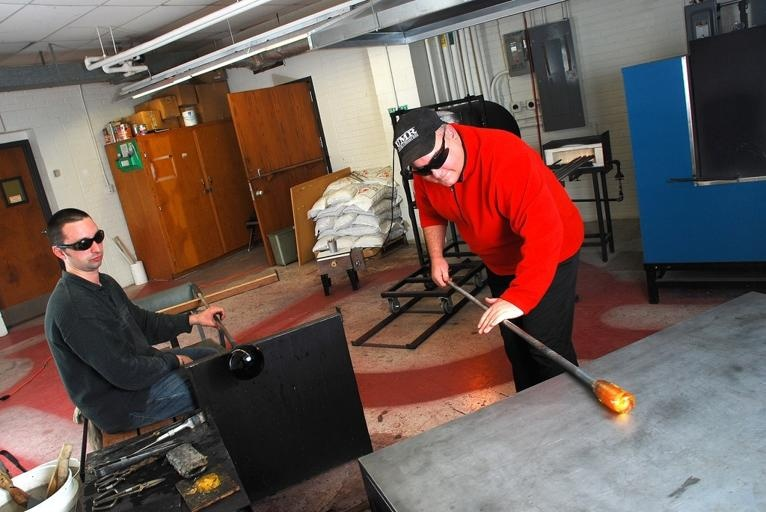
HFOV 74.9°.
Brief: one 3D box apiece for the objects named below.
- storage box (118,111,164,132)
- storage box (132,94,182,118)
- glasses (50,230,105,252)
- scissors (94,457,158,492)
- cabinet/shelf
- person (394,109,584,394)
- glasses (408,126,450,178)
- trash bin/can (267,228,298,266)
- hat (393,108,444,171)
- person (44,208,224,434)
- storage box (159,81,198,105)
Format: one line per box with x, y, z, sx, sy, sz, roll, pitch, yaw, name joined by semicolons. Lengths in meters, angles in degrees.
-4.060;-2.264;8.482;0.512;0.272;0.472;-9;7;7;storage box
-3.919;-2.507;8.714;0.885;0.369;0.431;-6;10;24;storage box
-1.831;-0.072;3.003;0.175;0.046;0.159;-3;19;25;glasses
-1.163;0.975;2.288;0.085;0.040;0.263;19;25;39;scissors
-3.676;-1.173;9.495;1.026;2.233;2.611;1;19;18;cabinet/shelf
0.567;0.041;2.634;0.868;1.662;0.914;-4;18;25;person
0.230;-0.501;2.480;0.190;0.211;0.072;-23;-32;38;glasses
-1.592;-0.126;7.979;0.397;0.500;0.573;-8;3;27;trash bin/can
0.187;-0.593;2.490;0.216;0.168;0.295;-28;18;35;hat
-1.597;0.378;3.114;0.589;1.405;0.750;-2;18;30;person
-3.610;-2.840;8.980;0.485;0.332;0.494;-29;25;-35;storage box
